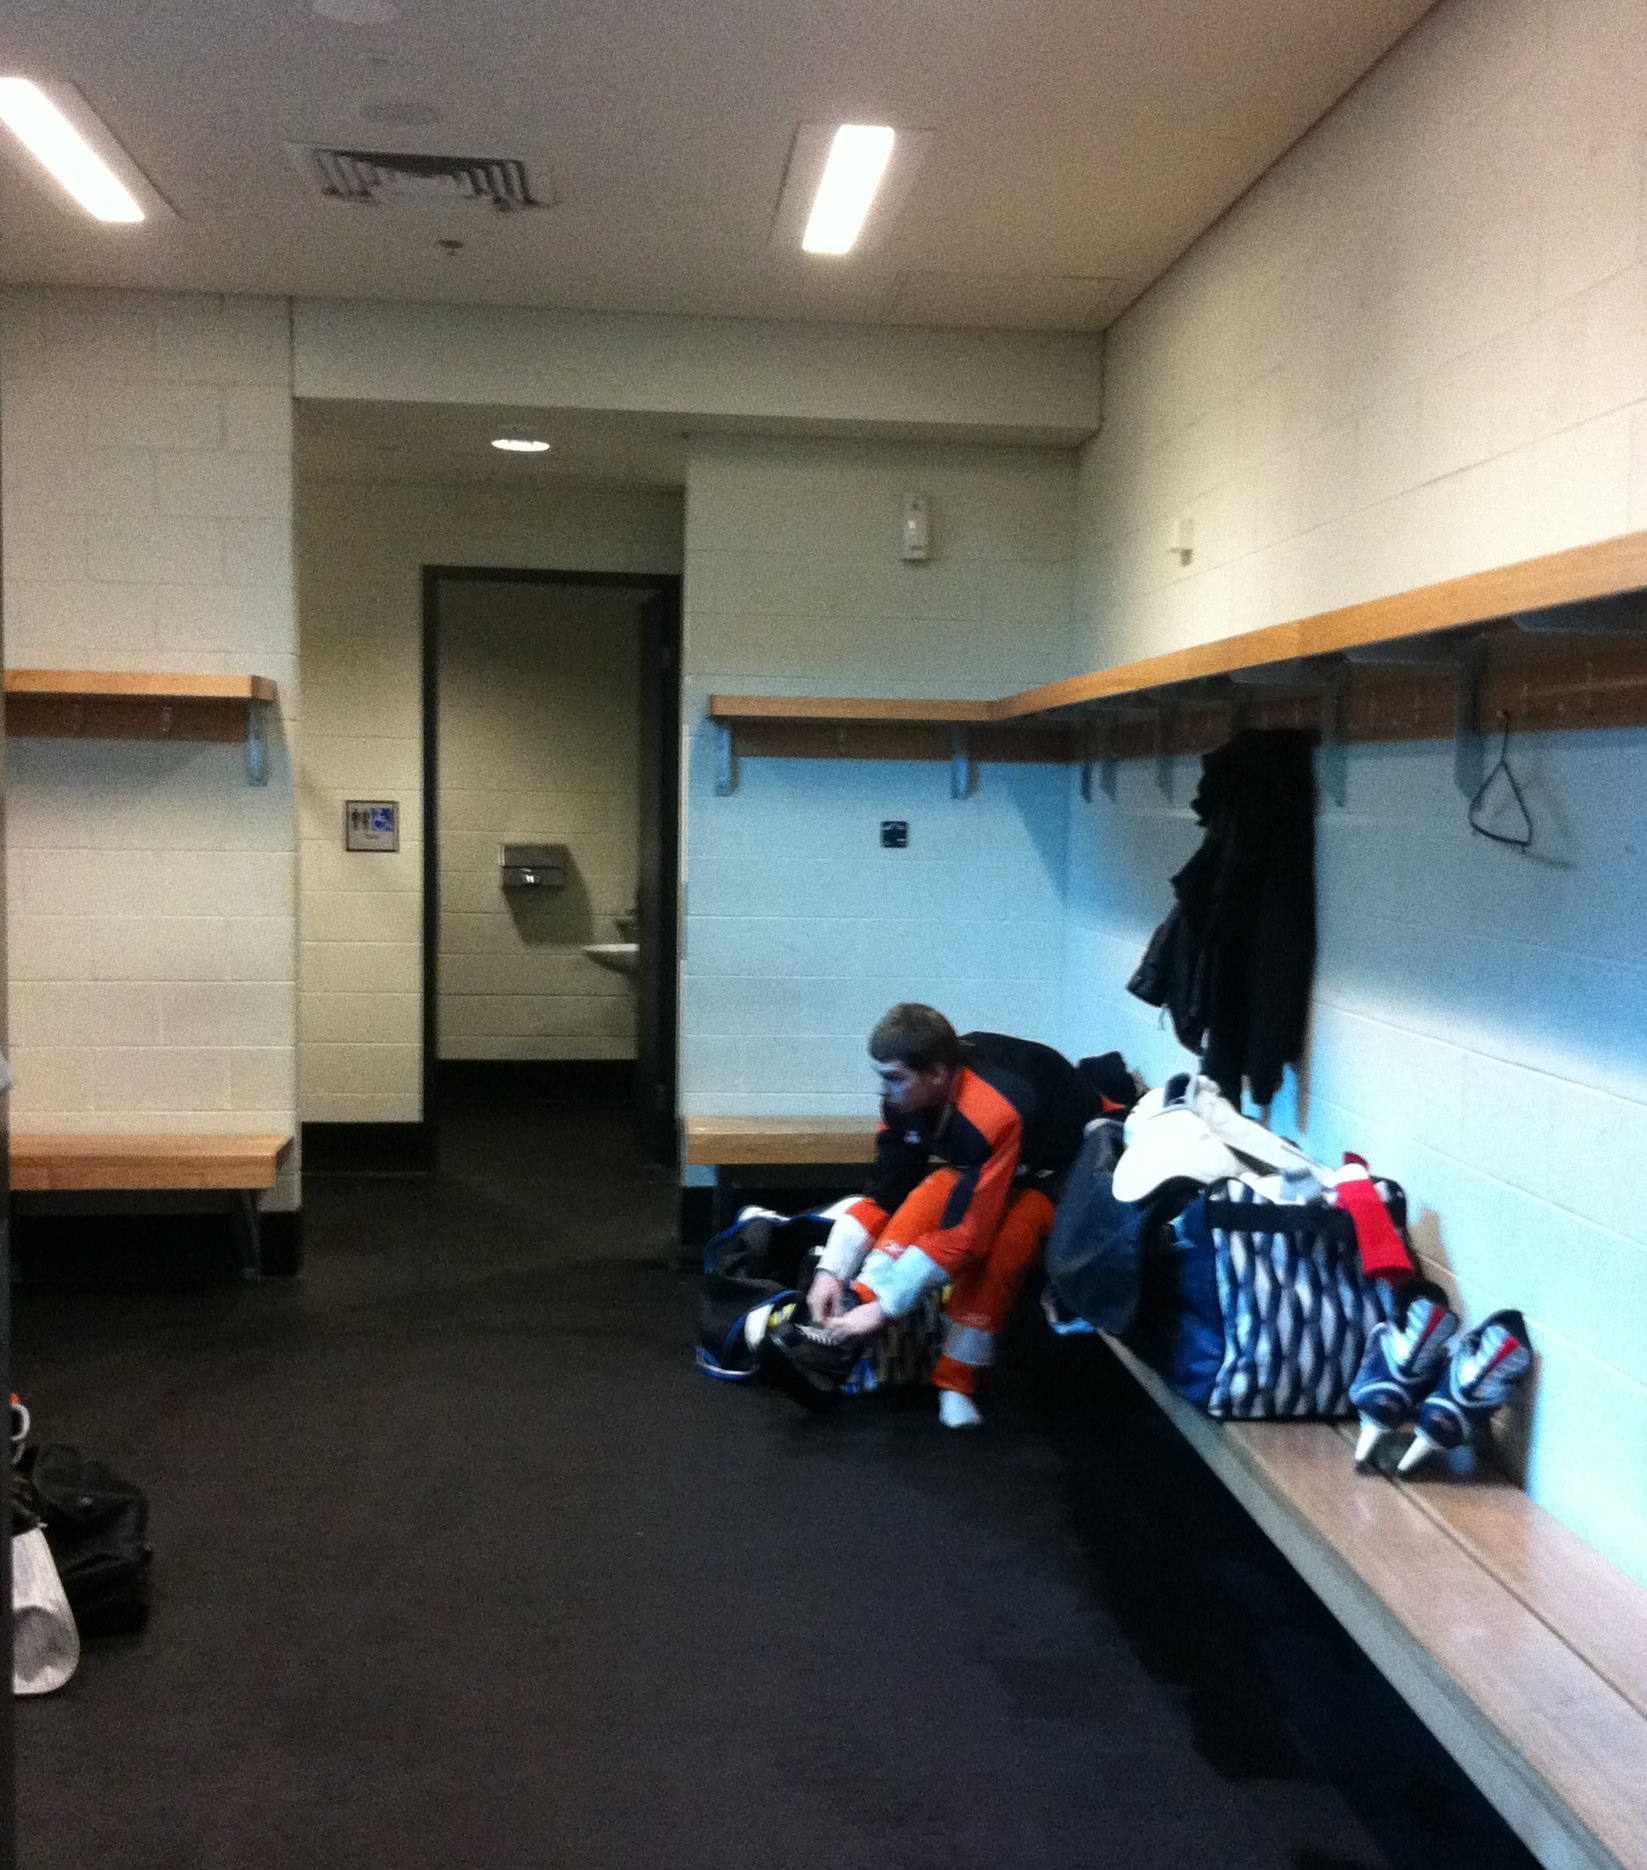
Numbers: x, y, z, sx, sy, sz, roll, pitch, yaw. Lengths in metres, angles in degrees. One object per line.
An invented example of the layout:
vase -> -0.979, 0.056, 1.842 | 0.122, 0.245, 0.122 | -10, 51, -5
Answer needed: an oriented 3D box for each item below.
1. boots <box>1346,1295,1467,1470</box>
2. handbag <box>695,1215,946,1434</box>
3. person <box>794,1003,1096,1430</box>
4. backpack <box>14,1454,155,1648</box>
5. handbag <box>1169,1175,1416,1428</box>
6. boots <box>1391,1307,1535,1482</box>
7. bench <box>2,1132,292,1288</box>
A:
boots -> 0.931, 0.711, 2.452 | 0.120, 0.323, 0.141 | 19, -17, 25
handbag -> -0.039, 0.924, 3.712 | 0.390, 0.217, 0.551 | 0, -1, -34
person -> 0.303, 0.631, 3.613 | 0.735, 0.945, 0.494 | 0, 5, -8
backpack -> -1.252, 1.058, 2.616 | 0.251, 0.109, 0.311 | 8, 13, -7
handbag -> 0.756, 0.649, 2.786 | 0.460, 0.420, 0.413 | 2, -10, -5
boots -> 0.991, 0.724, 2.416 | 0.122, 0.345, 0.153 | 35, 32, 16
bench -> -1.947, 0.800, 4.436 | 0.780, 0.445, 0.549 | 0, 4, -8
